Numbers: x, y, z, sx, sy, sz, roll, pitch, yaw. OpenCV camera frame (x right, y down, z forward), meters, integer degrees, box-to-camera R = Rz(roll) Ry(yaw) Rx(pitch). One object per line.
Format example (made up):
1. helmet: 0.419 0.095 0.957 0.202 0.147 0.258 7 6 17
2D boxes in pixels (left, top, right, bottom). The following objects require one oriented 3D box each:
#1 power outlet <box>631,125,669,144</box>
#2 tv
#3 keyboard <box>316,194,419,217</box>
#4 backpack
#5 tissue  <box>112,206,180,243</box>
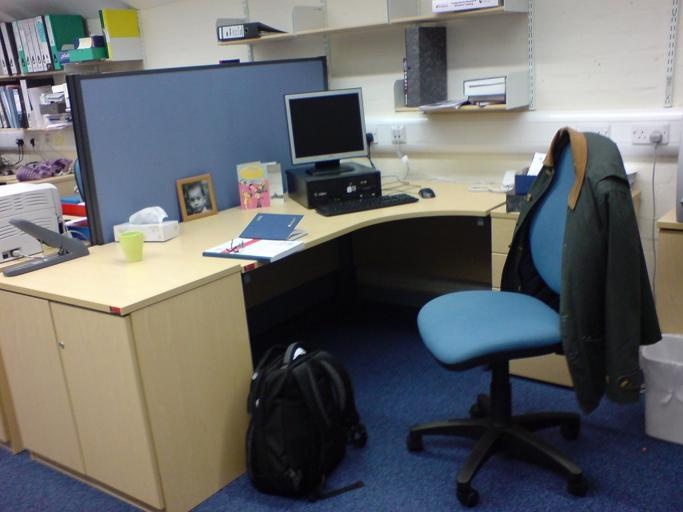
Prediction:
1. power outlet: 1.537 -0.609 2.679 0.159 0.106 0.090 9 17 41
2. tv: -0.099 -0.699 3.028 0.593 0.495 0.044 -11 16 -27
3. keyboard: 0.114 -0.272 2.800 0.379 0.051 0.145 -12 21 -26
4. backpack: -0.152 0.645 2.198 0.493 0.508 0.403 -4 20 1
5. tissue : -0.926 -0.183 2.532 0.283 0.161 0.242 -6 20 -31
